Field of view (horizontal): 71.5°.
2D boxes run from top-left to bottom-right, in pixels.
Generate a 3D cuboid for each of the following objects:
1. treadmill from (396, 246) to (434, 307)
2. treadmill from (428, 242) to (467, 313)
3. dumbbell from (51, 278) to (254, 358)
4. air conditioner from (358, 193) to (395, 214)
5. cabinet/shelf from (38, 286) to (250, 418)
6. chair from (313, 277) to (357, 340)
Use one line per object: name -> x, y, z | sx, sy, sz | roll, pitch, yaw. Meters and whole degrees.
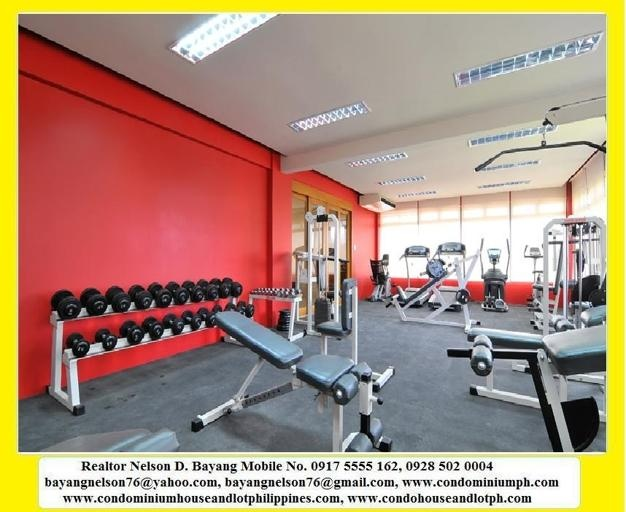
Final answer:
treadmill -> 1.649, 0.319, 7.184 | 0.496, 0.956, 0.817 | 3, 8, 23
treadmill -> 1.990, 0.267, 6.414 | 0.423, 0.894, 0.852 | 3, 12, 27
dumbbell -> -1.443, 0.472, 3.637 | 0.333, 0.468, 1.362 | 6, 1, 34
air conditioner -> 1.299, -1.073, 8.790 | 0.616, 0.415, 1.186 | 2, 10, 15
cabinet/shelf -> -1.436, 0.653, 3.591 | 0.552, 0.742, 1.689 | 5, 2, 37
chair -> 0.171, 0.375, 3.231 | 0.268, 0.459, 0.297 | 4, 10, 24
